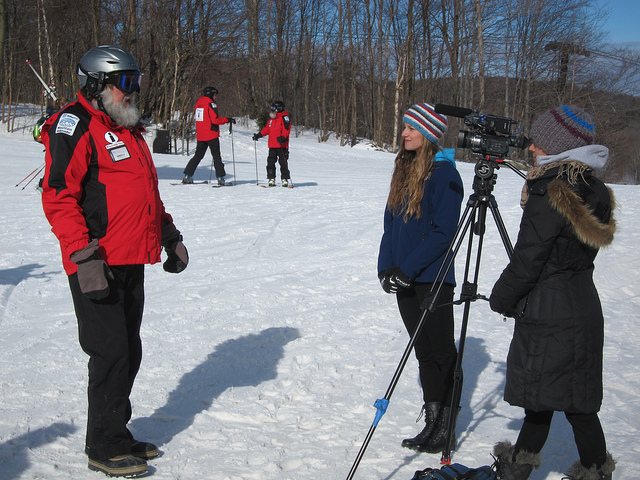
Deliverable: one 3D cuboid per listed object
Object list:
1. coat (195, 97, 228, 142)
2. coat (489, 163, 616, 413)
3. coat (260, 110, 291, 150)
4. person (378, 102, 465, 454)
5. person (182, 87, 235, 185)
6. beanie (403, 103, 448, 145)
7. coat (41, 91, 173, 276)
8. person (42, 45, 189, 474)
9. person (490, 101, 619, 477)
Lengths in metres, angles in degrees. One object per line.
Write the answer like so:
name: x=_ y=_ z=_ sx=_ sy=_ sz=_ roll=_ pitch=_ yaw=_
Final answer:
coat: x=-2.356 y=-2.599 z=13.114 sx=0.810 sy=0.928 sz=0.453 roll=4 pitch=14 yaw=12
coat: x=1.384 y=0.272 z=3.639 sx=0.719 sy=1.440 sz=0.536 roll=3 pitch=14 yaw=8
coat: x=-0.954 y=-2.538 z=13.913 sx=0.610 sy=0.923 sz=0.983 roll=-4 pitch=11 yaw=-39
person: x=0.740 y=0.260 z=4.284 sx=0.621 sy=2.377 sz=0.900 roll=-2 pitch=14 yaw=-11
person: x=-2.464 y=-2.268 z=13.287 sx=1.108 sy=2.076 sz=1.065 roll=-3 pitch=14 yaw=-14
beanie: x=0.733 y=-0.840 z=4.345 sx=0.368 sy=0.277 sz=0.275 roll=10 pitch=9 yaw=10
coat: x=-1.460 y=-0.427 z=4.109 sx=0.825 sy=1.080 sz=1.183 roll=7 pitch=13 yaw=8
person: x=-1.359 y=0.111 z=3.839 sx=0.621 sy=2.596 sz=0.772 roll=-1 pitch=14 yaw=-6
person: x=1.412 y=0.324 z=3.659 sx=0.767 sy=2.207 sz=0.644 roll=3 pitch=14 yaw=8
